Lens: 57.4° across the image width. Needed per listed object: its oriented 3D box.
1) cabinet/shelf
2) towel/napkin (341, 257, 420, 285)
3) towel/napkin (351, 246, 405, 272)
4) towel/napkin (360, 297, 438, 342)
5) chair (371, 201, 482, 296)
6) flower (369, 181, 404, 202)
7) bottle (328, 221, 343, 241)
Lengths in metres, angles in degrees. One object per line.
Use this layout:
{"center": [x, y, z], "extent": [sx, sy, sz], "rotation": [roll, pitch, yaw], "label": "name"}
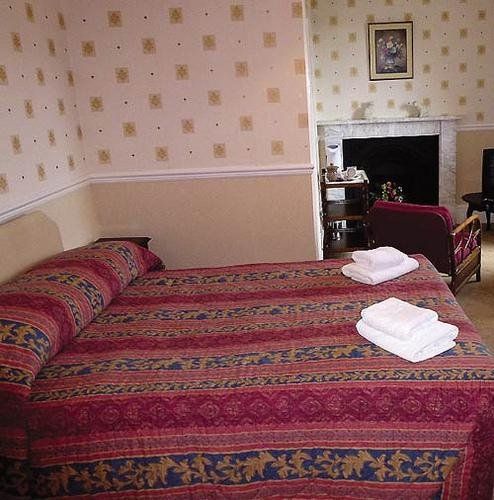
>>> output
{"center": [1.021, -0.377, 4.750], "extent": [0.439, 0.833, 0.941], "rotation": [-4, 24, 5], "label": "cabinet/shelf"}
{"center": [0.758, 0.114, 2.516], "extent": [0.245, 0.054, 0.187], "rotation": [-13, 17, -29], "label": "towel/napkin"}
{"center": [0.708, 0.036, 2.514], "extent": [0.184, 0.055, 0.175], "rotation": [-11, 14, -38], "label": "towel/napkin"}
{"center": [0.633, 0.275, 1.860], "extent": [0.184, 0.047, 0.177], "rotation": [-15, 20, -29], "label": "towel/napkin"}
{"center": [1.542, -0.110, 4.019], "extent": [0.775, 0.684, 0.992], "rotation": [11, 19, 38], "label": "chair"}
{"center": [1.726, -0.699, 5.641], "extent": [0.426, 0.304, 0.749], "rotation": [3, 18, 17], "label": "flower"}
{"center": [0.979, -0.210, 5.008], "extent": [0.241, 0.213, 0.213], "rotation": [-1, 9, -2], "label": "bottle"}
